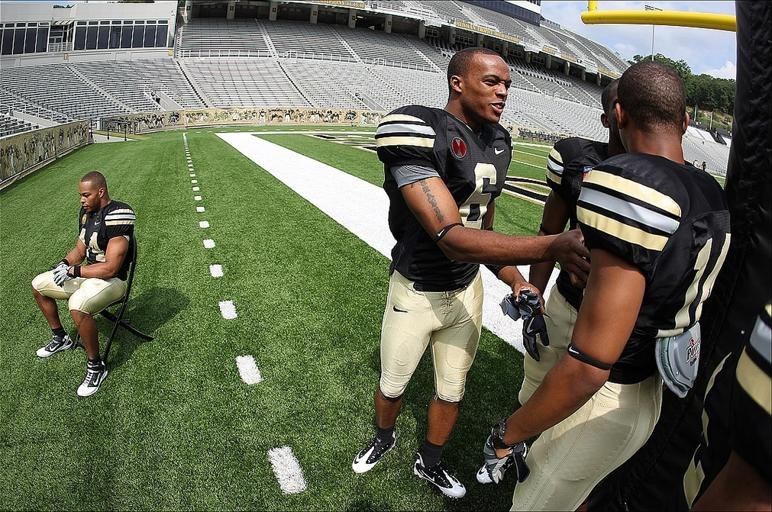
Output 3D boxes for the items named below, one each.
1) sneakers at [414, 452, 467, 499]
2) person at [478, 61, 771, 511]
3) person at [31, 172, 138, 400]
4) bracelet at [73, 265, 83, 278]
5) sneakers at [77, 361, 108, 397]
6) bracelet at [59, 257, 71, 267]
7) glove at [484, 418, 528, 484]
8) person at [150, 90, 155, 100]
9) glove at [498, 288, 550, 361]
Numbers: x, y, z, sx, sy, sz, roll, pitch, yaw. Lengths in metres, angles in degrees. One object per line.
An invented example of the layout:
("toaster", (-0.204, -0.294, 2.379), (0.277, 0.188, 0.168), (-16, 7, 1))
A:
("sneakers", (0.350, 1.395, 2.618), (0.400, 0.156, 0.160), (17, 11, 30))
("person", (0.874, 0.275, 1.605), (0.817, 2.009, 0.440), (-11, 23, -33))
("person", (-2.634, 0.161, 3.525), (0.893, 1.682, 1.116), (-15, 25, -40))
("bracelet", (-2.648, 0.126, 3.464), (0.081, 0.093, 0.038), (-1, -10, 5))
("sneakers", (-2.425, 1.008, 3.345), (0.146, 0.183, 0.337), (2, 22, -3))
("bracelet", (-3.009, 0.057, 3.765), (0.058, 0.064, 0.147), (20, -3, -25))
("glove", (0.519, 0.889, 1.772), (0.087, 0.263, 0.111), (38, 19, -54))
("person", (-17.648, -12.101, 30.458), (0.345, 0.611, 0.792), (-9, 21, -29))
("glove", (0.635, 0.321, 1.933), (0.146, 0.228, 0.358), (-18, 42, 31))
